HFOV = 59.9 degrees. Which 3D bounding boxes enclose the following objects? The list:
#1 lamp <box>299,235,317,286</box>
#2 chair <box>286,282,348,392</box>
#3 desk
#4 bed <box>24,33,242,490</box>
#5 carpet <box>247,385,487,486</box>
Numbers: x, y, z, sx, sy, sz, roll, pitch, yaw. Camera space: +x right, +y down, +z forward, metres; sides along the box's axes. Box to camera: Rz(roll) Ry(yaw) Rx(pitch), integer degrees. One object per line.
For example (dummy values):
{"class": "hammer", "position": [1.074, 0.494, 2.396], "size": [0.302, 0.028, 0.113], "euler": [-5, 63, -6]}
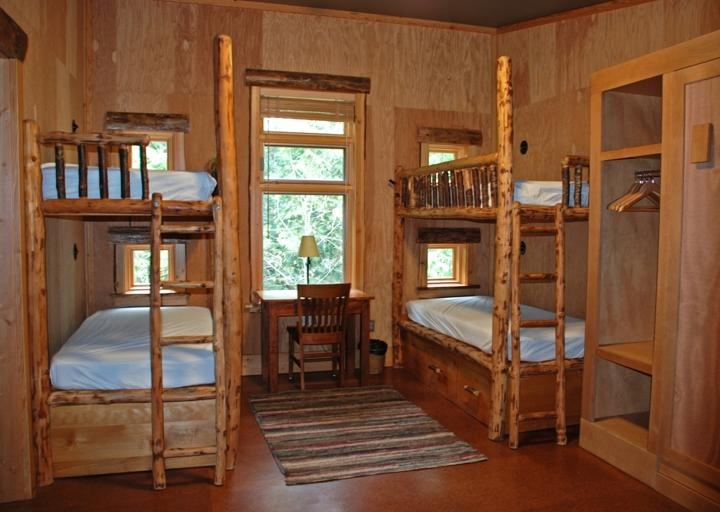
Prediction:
{"class": "lamp", "position": [-0.610, 0.056, 7.265], "size": [0.231, 0.605, 0.445], "euler": [-1, 11, -6]}
{"class": "chair", "position": [-0.473, 0.814, 6.868], "size": [0.659, 1.199, 0.842], "euler": [-1, 11, -5]}
{"class": "desk", "position": [-0.524, 0.878, 7.045], "size": [1.141, 0.951, 0.900], "euler": [0, 3, -9]}
{"class": "bed", "position": [-1.900, -0.086, 5.352], "size": [1.675, 3.435, 2.053], "euler": [-2, 12, -11]}
{"class": "carpet", "position": [-0.049, 1.566, 5.823], "size": [1.729, 0.044, 1.888], "euler": [-3, 12, -19]}
